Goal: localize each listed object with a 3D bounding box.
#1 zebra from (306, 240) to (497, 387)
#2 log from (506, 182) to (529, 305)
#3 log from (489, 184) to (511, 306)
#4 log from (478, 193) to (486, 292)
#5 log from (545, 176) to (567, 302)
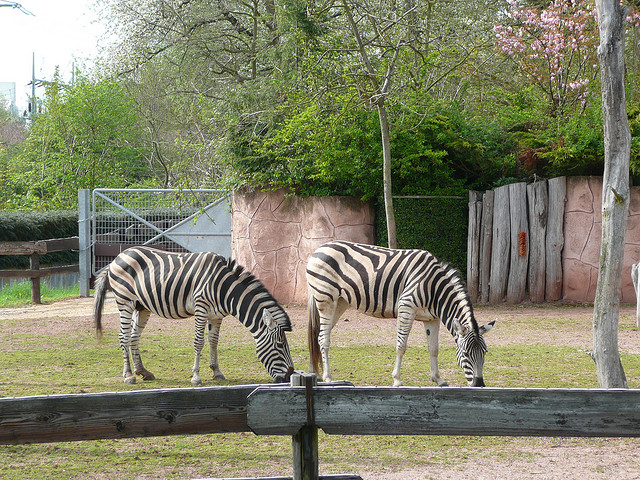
[{"bbox_3d":[1.350,1.377,20.311,3.425,2.763,0.934,-1,-1,20],"label":"zebra"},{"bbox_3d":[4.721,0.091,25.727,0.486,2.915,0.236,-1,-1,12],"label":"log"},{"bbox_3d":[4.273,0.016,25.999,0.413,2.884,0.477,-5,12,-40],"label":"log"},{"bbox_3d":[3.925,0.032,26.145,0.220,3.136,0.189,-3,-39,13],"label":"log"},{"bbox_3d":[5.599,0.002,25.719,0.537,2.993,0.497,4,-4,-13],"label":"log"}]
